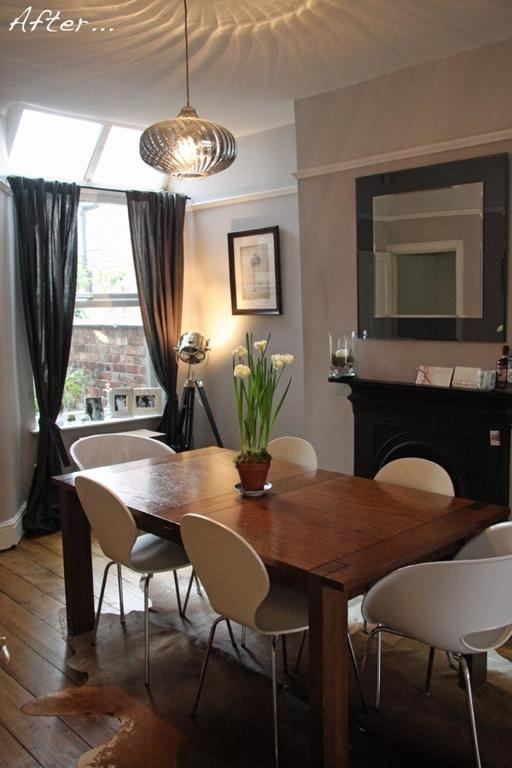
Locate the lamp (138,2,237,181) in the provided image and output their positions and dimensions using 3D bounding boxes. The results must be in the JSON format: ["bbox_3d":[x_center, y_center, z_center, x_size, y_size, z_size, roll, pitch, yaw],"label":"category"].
[{"bbox_3d":[-0.287,-1.227,2.394,0.364,0.551,0.792,-2,0,-5],"label":"lamp"}]

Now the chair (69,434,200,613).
[{"bbox_3d":[-0.773,0.611,3.268,0.771,1.079,0.727,-7,6,-35],"label":"chair"}]

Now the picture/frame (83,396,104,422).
[{"bbox_3d":[-1.322,0.209,4.653,0.172,0.249,0.024,8,-12,-38],"label":"picture/frame"}]

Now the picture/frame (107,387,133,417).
[{"bbox_3d":[-1.137,0.162,4.789,0.227,0.294,0.021,-3,-1,-40],"label":"picture/frame"}]

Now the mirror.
[{"bbox_3d":[0.969,-0.733,3.139,0.039,0.859,0.765,-6,7,-44],"label":"mirror"}]

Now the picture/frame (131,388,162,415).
[{"bbox_3d":[-0.940,0.155,4.887,0.201,0.197,0.070,-3,6,-30],"label":"picture/frame"}]

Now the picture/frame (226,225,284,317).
[{"bbox_3d":[0.012,-0.902,4.540,0.038,0.876,0.695,-10,10,-43],"label":"picture/frame"}]

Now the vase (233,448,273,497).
[{"bbox_3d":[-0.007,0.326,2.206,0.150,0.170,0.155,2,11,16],"label":"vase"}]

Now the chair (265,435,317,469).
[{"bbox_3d":[0.178,0.334,2.797,0.164,0.254,0.171,-2,-7,10],"label":"chair"}]
